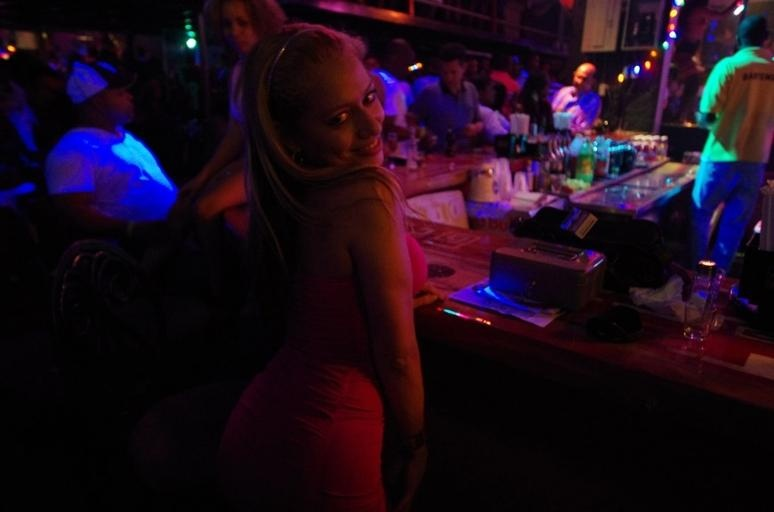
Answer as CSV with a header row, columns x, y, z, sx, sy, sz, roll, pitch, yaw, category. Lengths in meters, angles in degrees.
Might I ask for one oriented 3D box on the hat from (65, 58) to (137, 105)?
x,y,z,sx,sy,sz,roll,pitch,yaw,category
-1.811,-1.097,3.723,0.331,0.174,0.229,-27,41,-14,hat
